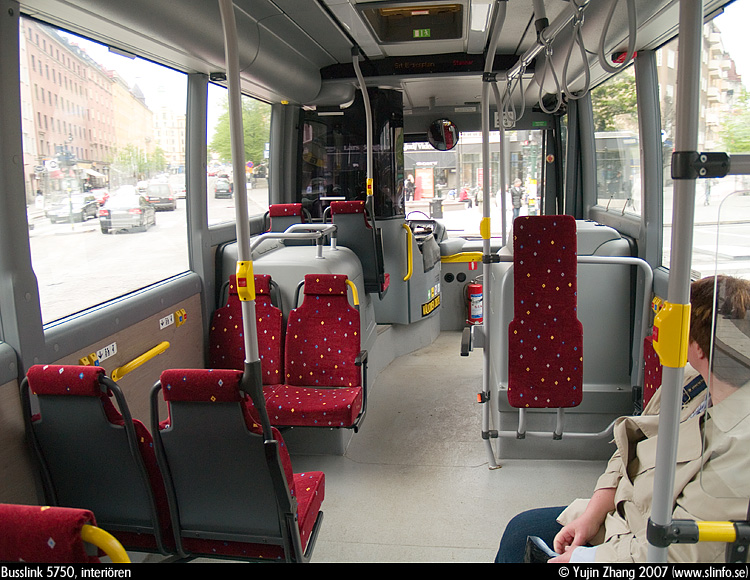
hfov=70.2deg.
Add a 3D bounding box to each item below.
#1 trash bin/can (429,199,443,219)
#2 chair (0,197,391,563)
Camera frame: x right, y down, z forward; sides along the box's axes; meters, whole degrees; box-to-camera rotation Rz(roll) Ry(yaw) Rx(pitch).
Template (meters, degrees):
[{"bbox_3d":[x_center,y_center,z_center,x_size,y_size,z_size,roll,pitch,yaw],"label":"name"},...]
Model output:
[{"bbox_3d":[0.866,-1.210,7.675,0.256,0.309,0.177,-3,10,2],"label":"trash bin/can"},{"bbox_3d":[-0.749,0.279,3.028,1.395,1.009,1.873,-1,9,10],"label":"chair"}]
